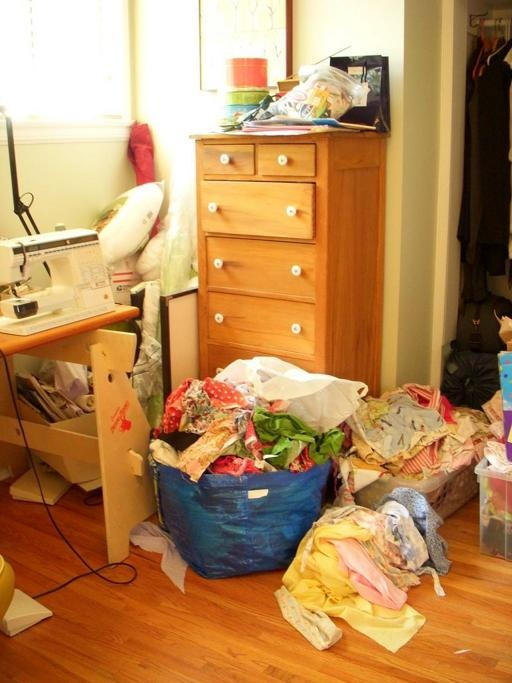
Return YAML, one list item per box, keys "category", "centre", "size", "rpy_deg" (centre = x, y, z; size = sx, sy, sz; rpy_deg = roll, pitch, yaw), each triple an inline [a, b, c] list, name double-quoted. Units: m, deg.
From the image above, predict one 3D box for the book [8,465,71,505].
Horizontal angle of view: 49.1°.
- category: "book"
  centre: [-0.837, 0.549, 2.147]
  size: [0.126, 0.029, 0.125]
  rpy_deg: [14, 23, 27]

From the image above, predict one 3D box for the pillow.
- category: "pillow"
  centre: [-0.572, -0.549, 2.562]
  size: [0.341, 0.393, 0.256]
  rpy_deg: [-5, 8, -25]

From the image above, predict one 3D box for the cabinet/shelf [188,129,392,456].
- category: "cabinet/shelf"
  centre: [0.140, -0.270, 2.315]
  size: [0.662, 1.123, 0.598]
  rpy_deg: [5, 21, 22]

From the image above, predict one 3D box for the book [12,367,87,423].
- category: "book"
  centre: [-0.821, 0.210, 2.233]
  size: [0.245, 0.071, 0.184]
  rpy_deg: [10, 10, -36]
